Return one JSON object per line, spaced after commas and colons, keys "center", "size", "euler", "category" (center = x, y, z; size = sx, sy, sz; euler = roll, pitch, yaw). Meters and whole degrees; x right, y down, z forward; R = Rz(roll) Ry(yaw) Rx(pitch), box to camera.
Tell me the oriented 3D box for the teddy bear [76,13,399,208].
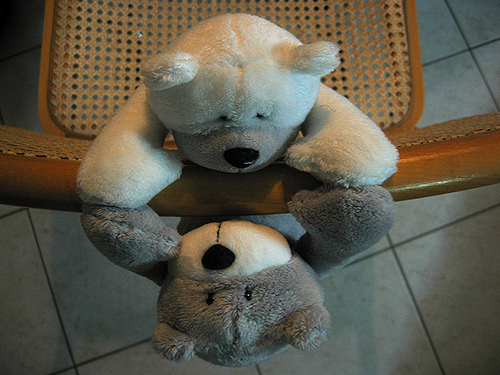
{"center": [-0.045, -0.171, 1.037], "size": [0.684, 0.221, 0.380], "euler": [-4, 75, -5], "category": "teddy bear"}
